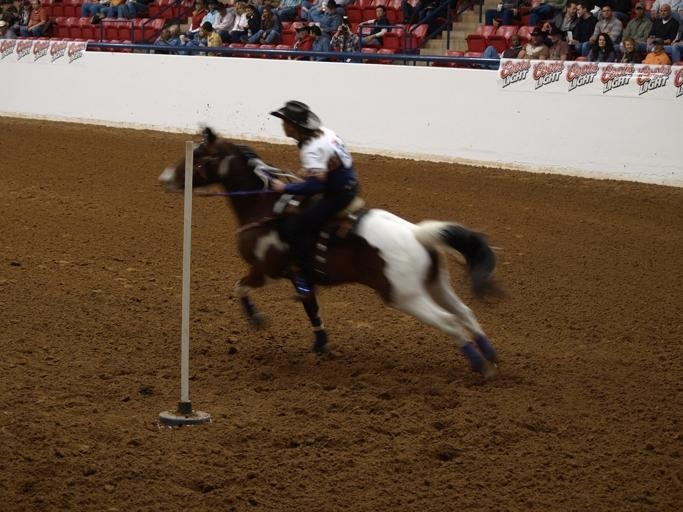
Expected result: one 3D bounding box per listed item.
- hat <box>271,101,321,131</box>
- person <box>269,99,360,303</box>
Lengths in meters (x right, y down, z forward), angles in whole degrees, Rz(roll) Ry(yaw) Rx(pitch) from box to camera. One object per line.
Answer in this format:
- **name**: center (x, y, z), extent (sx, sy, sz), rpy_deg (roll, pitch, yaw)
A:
- **hat**: center (-0.440, -1.300, 6.480), extent (0.453, 0.115, 0.362), rpy_deg (19, 12, 16)
- **person**: center (-0.258, -0.467, 6.691), extent (0.758, 1.966, 0.473), rpy_deg (2, 24, -5)
